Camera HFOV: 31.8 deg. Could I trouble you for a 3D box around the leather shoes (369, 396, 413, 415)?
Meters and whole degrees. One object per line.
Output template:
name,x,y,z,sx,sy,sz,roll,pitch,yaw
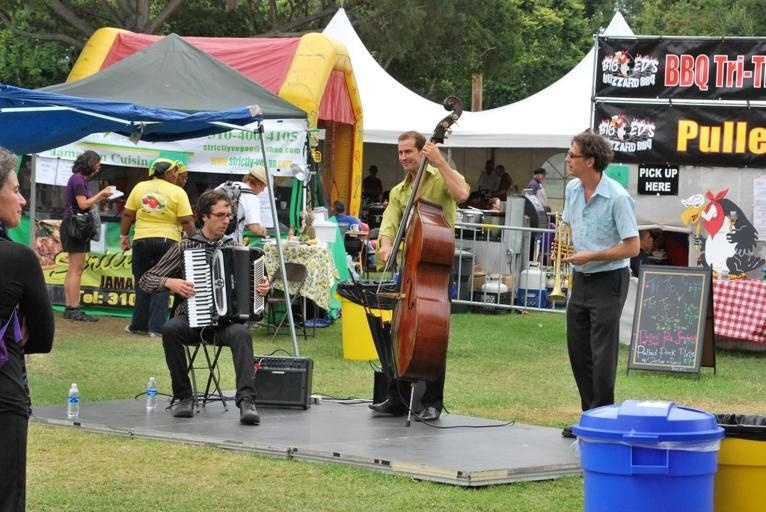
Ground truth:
leather shoes,0.086,1.709,15.078,0.510,0.190,0.157,3,-7,9

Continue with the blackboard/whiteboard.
blackboard/whiteboard,3.787,0.841,18.008,1.199,1.347,0.544,-5,-2,3

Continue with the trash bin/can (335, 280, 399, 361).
trash bin/can,-0.785,0.918,18.078,0.956,1.105,1.080,4,7,9

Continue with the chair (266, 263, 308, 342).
chair,-1.393,0.619,19.101,0.832,0.989,0.746,2,0,0

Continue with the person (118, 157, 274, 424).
person,-2.016,0.539,14.763,1.207,2.434,1.173,-2,14,-18

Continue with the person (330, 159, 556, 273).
person,0.179,-0.563,14.993,1.297,1.036,2.930,0,-3,-12

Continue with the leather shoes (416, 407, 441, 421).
leather shoes,0.502,1.754,14.887,0.147,0.078,0.215,4,7,44

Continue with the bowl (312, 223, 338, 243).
bowl,-0.839,-0.325,19.702,0.344,0.210,0.315,-1,2,0

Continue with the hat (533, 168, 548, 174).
hat,2.996,-1.606,25.813,0.221,0.098,0.282,2,6,30

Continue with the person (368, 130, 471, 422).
person,0.396,0.212,14.815,1.234,3.124,1.348,5,-5,-44

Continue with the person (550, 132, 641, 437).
person,2.543,0.261,14.317,1.445,2.808,1.101,0,0,-19

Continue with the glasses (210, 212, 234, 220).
glasses,-1.777,-0.427,14.694,0.212,0.070,0.074,-4,13,-24
